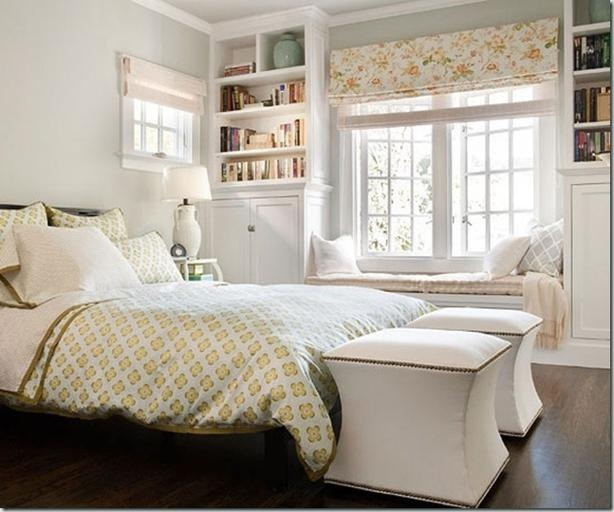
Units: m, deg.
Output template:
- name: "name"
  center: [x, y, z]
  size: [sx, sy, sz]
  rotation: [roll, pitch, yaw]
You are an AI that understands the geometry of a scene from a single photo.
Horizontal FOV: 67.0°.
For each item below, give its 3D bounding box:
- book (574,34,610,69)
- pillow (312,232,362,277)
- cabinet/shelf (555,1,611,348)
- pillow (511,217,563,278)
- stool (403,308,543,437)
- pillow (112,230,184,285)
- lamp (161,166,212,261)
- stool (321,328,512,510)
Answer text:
- name: "book"
  center: [2.324, -1.655, 3.846]
  size: [0.267, 0.336, 0.352]
  rotation: [4, 10, 29]
- name: "pillow"
  center: [0.314, -0.010, 4.833]
  size: [0.514, 0.445, 0.267]
  rotation: [1, -3, -23]
- name: "cabinet/shelf"
  center: [2.272, -0.712, 3.787]
  size: [0.367, 2.813, 0.511]
  rotation: [-1, -1, 32]
- name: "pillow"
  center: [1.981, -0.068, 3.946]
  size: [0.136, 0.442, 0.456]
  rotation: [12, -1, -30]
- name: "stool"
  center: [0.908, 0.527, 2.587]
  size: [0.644, 0.609, 0.719]
  rotation: [-2, -1, 32]
- name: "pillow"
  center: [-1.103, -0.024, 3.394]
  size: [0.444, 0.410, 0.132]
  rotation: [-11, 14, 11]
- name: "lamp"
  center: [-1.153, -0.392, 4.429]
  size: [0.540, 0.850, 0.502]
  rotation: [-2, -1, 13]
- name: "stool"
  center: [0.448, 0.540, 1.874]
  size: [0.623, 0.515, 0.604]
  rotation: [-2, -1, 32]
